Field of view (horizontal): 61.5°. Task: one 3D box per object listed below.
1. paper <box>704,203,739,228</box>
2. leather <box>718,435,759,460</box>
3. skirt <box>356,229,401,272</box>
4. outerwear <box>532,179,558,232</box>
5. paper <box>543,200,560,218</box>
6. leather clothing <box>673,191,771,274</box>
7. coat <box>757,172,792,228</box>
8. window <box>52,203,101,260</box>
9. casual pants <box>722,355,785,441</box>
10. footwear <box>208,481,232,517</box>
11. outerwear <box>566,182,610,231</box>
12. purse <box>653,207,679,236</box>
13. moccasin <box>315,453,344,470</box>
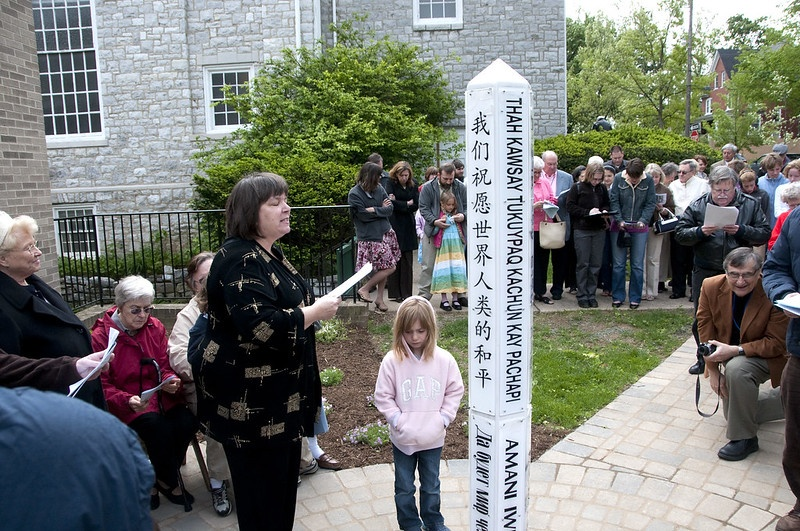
[{"bbox_3d":[4.030,-0.626,8.460,0.306,0.294,0.033,7,12,22],"label":"paper"},{"bbox_3d":[3.337,1.803,6.710,0.459,0.179,0.166,-11,4,-27],"label":"leather"},{"bbox_3d":[-0.382,-0.127,10.088,0.801,0.780,0.565,0,-5,-8],"label":"skirt"},{"bbox_3d":[2.214,-1.031,10.665,0.528,0.638,0.340,-11,28,-7],"label":"outerwear"},{"bbox_3d":[2.311,-0.862,10.419,0.238,0.100,0.307,11,0,1],"label":"paper"},{"bbox_3d":[4.190,-0.421,8.782,1.184,1.111,0.658,0,11,14],"label":"leather clothing"},{"bbox_3d":[6.419,-1.126,11.748,0.489,1.022,0.258,8,33,22],"label":"coat"},{"bbox_3d":[-6.565,-0.684,13.750,1.199,1.127,0.110,-2,6,21],"label":"window"},{"bbox_3d":[3.677,1.312,6.851,0.582,0.720,0.663,-9,-17,44],"label":"casual pants"},{"bbox_3d":[-1.663,2.124,6.236,0.129,0.151,0.382,-20,39,-11],"label":"footwear"},{"bbox_3d":[2.903,-0.922,10.380,0.783,0.848,0.501,-1,-2,-9],"label":"outerwear"},{"bbox_3d":[4.058,-0.694,10.349,0.489,0.431,0.185,-15,3,-29],"label":"purse"},{"bbox_3d":[-0.704,1.929,6.631,0.296,0.105,0.112,-1,1,30],"label":"moccasin"}]
